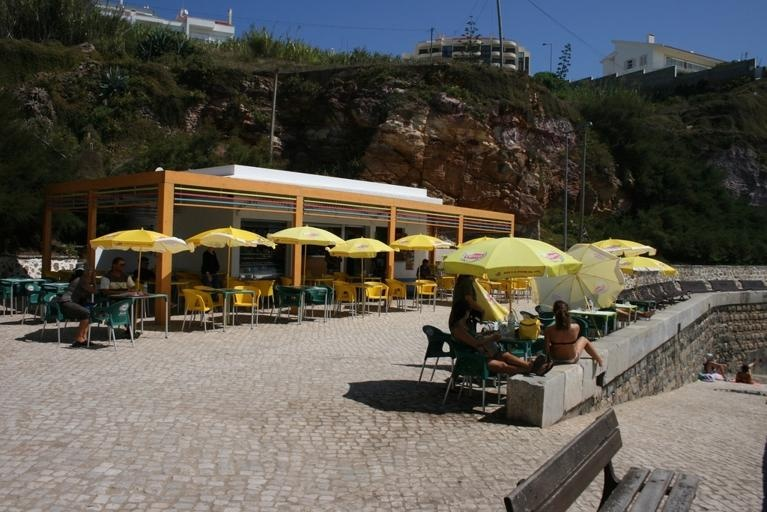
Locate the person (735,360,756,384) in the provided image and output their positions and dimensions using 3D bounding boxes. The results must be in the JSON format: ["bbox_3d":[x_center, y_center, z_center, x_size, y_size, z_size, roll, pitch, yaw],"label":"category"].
[{"bbox_3d":[11.696,3.801,21.069,0.473,0.726,1.726,1,0,28],"label":"person"}]

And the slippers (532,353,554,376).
[{"bbox_3d":[2.676,1.768,10.853,0.188,0.197,0.513,-6,24,37],"label":"slippers"}]

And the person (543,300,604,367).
[{"bbox_3d":[3.185,1.384,11.491,1.486,1.121,1.044,-1,-2,17],"label":"person"}]

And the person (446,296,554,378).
[{"bbox_3d":[1.941,1.436,11.123,1.808,1.175,0.679,9,8,-1],"label":"person"}]

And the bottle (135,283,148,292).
[{"bbox_3d":[-5.988,0.763,16.057,0.252,0.235,0.182,1,-3,-8],"label":"bottle"}]

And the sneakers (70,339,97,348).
[{"bbox_3d":[-6.312,1.826,13.682,0.507,0.182,0.185,1,-1,-8],"label":"sneakers"}]

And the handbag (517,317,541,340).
[{"bbox_3d":[2.663,1.278,11.732,0.412,0.392,0.346,3,8,26],"label":"handbag"}]

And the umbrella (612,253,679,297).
[{"bbox_3d":[9.573,0.738,23.674,1.825,0.669,1.854,0,7,12],"label":"umbrella"}]

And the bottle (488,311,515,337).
[{"bbox_3d":[2.183,1.227,11.989,0.430,0.780,0.426,2,-1,0],"label":"bottle"}]
